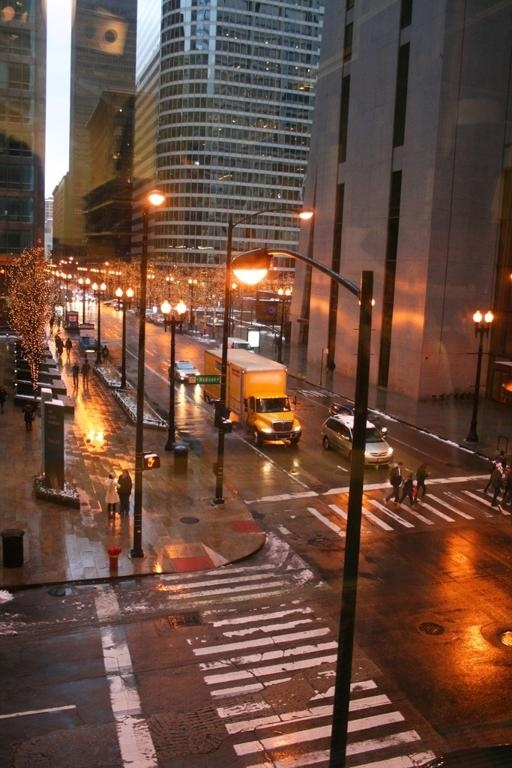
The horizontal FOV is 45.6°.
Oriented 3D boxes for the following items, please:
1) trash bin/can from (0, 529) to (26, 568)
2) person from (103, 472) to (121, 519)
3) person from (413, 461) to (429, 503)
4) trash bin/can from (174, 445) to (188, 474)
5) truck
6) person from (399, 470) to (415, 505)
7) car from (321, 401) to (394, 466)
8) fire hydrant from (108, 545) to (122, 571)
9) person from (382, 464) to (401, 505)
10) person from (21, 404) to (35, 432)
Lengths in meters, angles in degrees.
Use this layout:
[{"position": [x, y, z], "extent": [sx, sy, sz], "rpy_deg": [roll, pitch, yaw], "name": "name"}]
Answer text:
[{"position": [-5.374, 3.662, 13.444], "extent": [0.470, 0.804, 0.338], "rpy_deg": [2, 6, -2], "name": "trash bin/can"}, {"position": [-4.133, 3.161, 17.595], "extent": [0.395, 1.273, 1.374], "rpy_deg": [1, 6, -13], "name": "person"}, {"position": [5.519, 3.146, 20.408], "extent": [0.335, 1.367, 1.827], "rpy_deg": [4, 6, 16], "name": "person"}, {"position": [-2.657, 2.719, 21.727], "extent": [0.460, 0.927, 0.616], "rpy_deg": [2, 6, -9], "name": "trash bin/can"}, {"position": [0.154, 0.321, 30.145], "extent": [2.512, 3.126, 8.039], "rpy_deg": [-2, 12, -18], "name": "truck"}, {"position": [4.856, 3.388, 19.626], "extent": [0.444, 1.113, 1.416], "rpy_deg": [4, 6, 15], "name": "person"}, {"position": [4.232, 2.137, 25.359], "extent": [2.052, 1.734, 4.097], "rpy_deg": [-1, 10, -21], "name": "car"}, {"position": [-3.171, 3.886, 13.662], "extent": [0.211, 0.550, 0.550], "rpy_deg": [2, 6, -11], "name": "fire hydrant"}, {"position": [4.528, 3.128, 19.961], "extent": [0.428, 1.450, 1.753], "rpy_deg": [4, 6, 14], "name": "person"}, {"position": [-10.266, 1.476, 27.657], "extent": [0.341, 1.234, 0.776], "rpy_deg": [1, 6, -13], "name": "person"}]
